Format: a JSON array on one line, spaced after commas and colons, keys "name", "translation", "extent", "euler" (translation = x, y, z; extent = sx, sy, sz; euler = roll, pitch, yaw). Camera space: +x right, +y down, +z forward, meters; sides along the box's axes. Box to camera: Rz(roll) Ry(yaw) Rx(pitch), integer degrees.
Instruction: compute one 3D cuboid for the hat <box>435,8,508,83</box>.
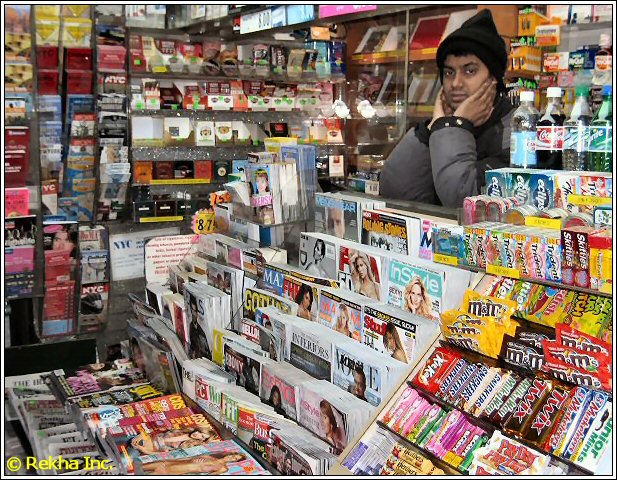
[{"name": "hat", "translation": [0.824, -0.941, 2.444], "extent": [0.291, 0.372, 0.371], "euler": [8, -8, 37]}]
